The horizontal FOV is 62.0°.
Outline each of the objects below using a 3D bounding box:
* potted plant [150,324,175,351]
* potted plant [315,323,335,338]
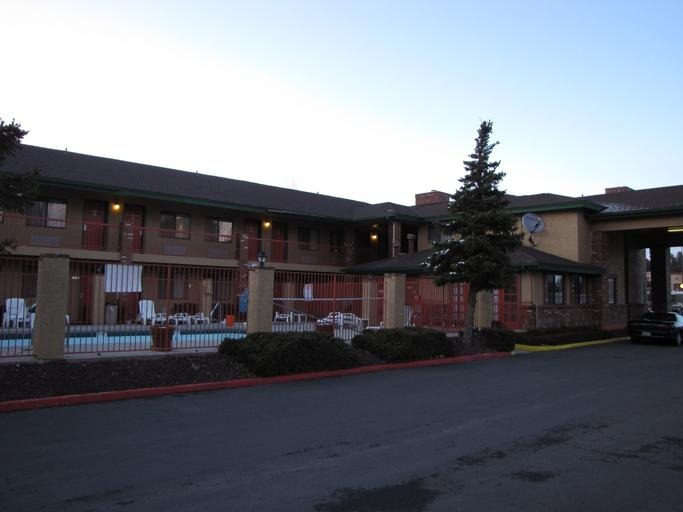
[{"bbox_3d":[-5.268,2.420,16.813,0.731,0.740,0.751,-2,-5,26],"label":"potted plant"},{"bbox_3d":[-0.611,2.512,19.399,0.599,0.578,0.431,2,-4,-30],"label":"potted plant"}]
